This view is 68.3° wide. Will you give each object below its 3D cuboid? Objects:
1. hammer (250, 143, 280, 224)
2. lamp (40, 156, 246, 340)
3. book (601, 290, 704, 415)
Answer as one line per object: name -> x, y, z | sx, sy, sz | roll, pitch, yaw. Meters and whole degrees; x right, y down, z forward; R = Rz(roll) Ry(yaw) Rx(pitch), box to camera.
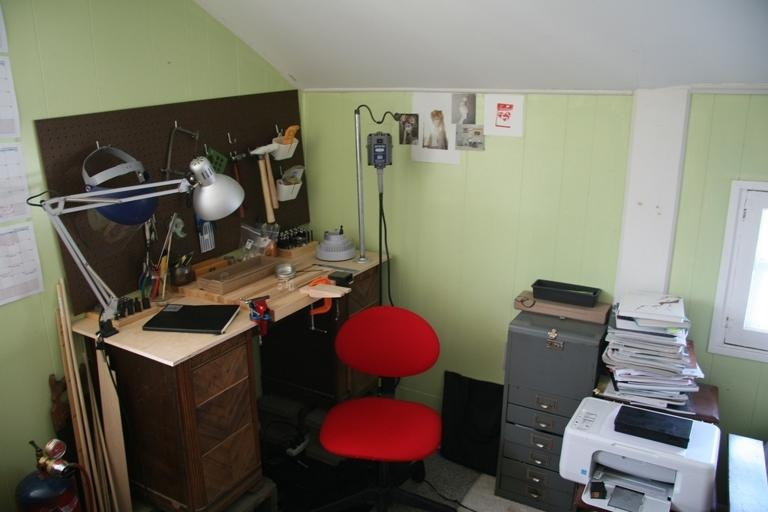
hammer -> -0.789, -0.493, 3.838 | 0.159, 0.535, 0.182 | 2, 19, 7
lamp -> -1.276, -0.076, 3.041 | 0.988, 0.878, 0.477 | -13, 23, -33
book -> 1.444, 0.498, 3.250 | 0.548, 0.567, 0.576 | 4, 12, 14
